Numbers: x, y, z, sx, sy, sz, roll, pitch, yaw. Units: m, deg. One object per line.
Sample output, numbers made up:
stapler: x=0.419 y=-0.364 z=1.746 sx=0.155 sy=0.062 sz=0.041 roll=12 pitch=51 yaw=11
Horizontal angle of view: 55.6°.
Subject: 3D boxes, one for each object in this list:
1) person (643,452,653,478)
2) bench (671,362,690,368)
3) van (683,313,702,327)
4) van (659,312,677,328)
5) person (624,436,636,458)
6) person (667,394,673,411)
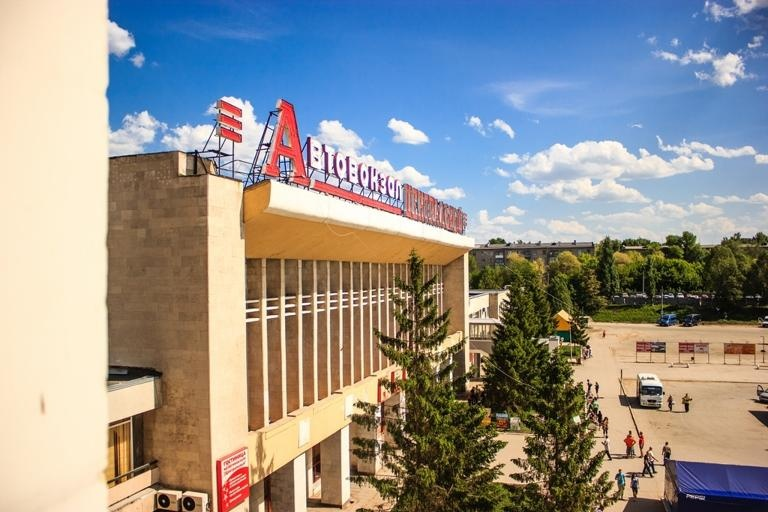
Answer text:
person: x=14.780 y=11.495 z=40.335 sx=0.859 sy=1.297 sz=0.475 roll=0 pitch=0 yaw=-35
bench: x=30.244 y=11.149 z=74.322 sx=1.700 sy=0.112 sz=3.680 roll=0 pitch=-1 yaw=24
van: x=46.894 y=9.811 z=110.814 sx=2.615 sy=1.585 sz=1.788 roll=7 pitch=-9 yaw=-44
van: x=44.447 y=10.031 z=113.550 sx=1.608 sy=1.591 sz=2.962 roll=6 pitch=7 yaw=26
person: x=14.856 y=11.349 z=43.857 sx=0.528 sy=1.314 sz=1.510 roll=0 pitch=0 yaw=18
person: x=21.626 y=11.054 z=54.804 sx=0.443 sy=1.111 sz=2.071 roll=0 pitch=0 yaw=20
